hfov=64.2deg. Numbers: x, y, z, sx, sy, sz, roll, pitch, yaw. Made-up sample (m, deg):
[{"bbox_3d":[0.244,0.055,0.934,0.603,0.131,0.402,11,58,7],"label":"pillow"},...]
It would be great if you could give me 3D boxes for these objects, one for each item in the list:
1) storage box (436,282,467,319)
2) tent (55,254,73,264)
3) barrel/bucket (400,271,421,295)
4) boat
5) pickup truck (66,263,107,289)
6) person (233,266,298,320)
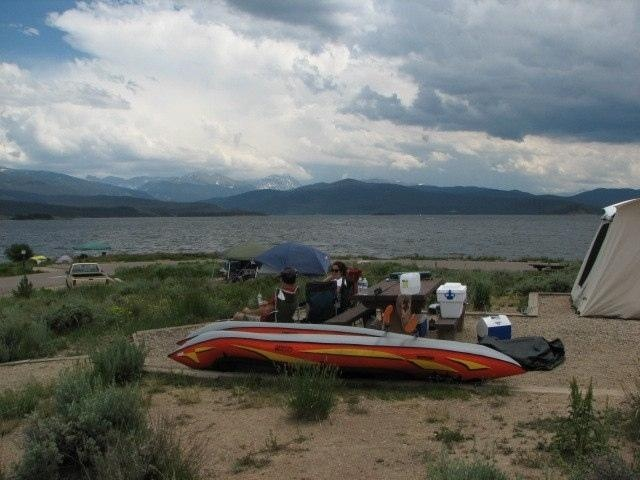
[{"bbox_3d":[2.701,1.244,10.471,0.520,0.580,0.753,-1,-5,11],"label":"storage box"},{"bbox_3d":[-18.398,1.425,36.608,1.193,0.579,1.261,1,1,17],"label":"tent"},{"bbox_3d":[1.769,0.841,9.919,0.400,0.411,0.378,-2,6,0],"label":"barrel/bucket"},{"bbox_3d":[0.393,1.927,8.461,3.797,0.620,0.950,1,-5,10],"label":"boat"},{"bbox_3d":[-9.766,1.547,21.377,1.110,0.935,2.098,-1,6,-23],"label":"pickup truck"},{"bbox_3d":[-1.084,1.135,9.998,1.496,1.213,0.735,-1,0,33],"label":"person"}]
